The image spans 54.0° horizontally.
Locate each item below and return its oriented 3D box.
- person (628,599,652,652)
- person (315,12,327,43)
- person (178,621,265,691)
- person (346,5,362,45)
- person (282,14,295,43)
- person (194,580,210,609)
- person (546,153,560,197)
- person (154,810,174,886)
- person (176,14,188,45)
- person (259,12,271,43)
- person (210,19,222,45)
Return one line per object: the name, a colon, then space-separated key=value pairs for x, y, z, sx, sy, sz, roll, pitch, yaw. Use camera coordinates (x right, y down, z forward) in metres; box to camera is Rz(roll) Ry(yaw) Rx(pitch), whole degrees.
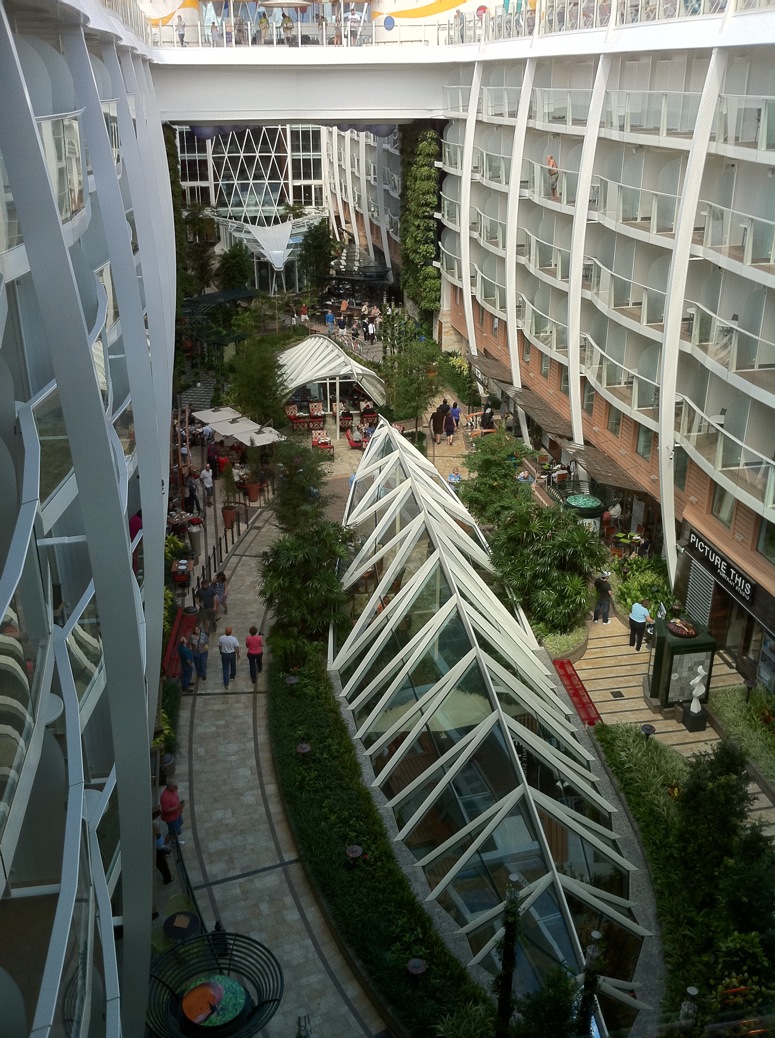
person: x=7.419 y=3.116 z=22.189 sx=0.664 sy=1.543 sz=0.479 roll=-5 pitch=27 yaw=-12
person: x=-3.502 y=-25.871 z=40.030 sx=0.587 sy=1.436 sz=0.715 roll=-2 pitch=27 yaw=-5
person: x=-4.645 y=3.812 z=20.995 sx=1.508 sy=1.371 sz=0.662 roll=2 pitch=41 yaw=0
person: x=-1.808 y=-26.073 z=40.262 sx=0.591 sy=1.714 sz=1.156 roll=1 pitch=12 yaw=4
person: x=-5.187 y=-25.455 z=39.663 sx=0.587 sy=1.195 sz=0.565 roll=13 pitch=29 yaw=22
person: x=-5.566 y=2.306 z=22.953 sx=0.399 sy=0.901 sz=0.832 roll=-9 pitch=30 yaw=-20
person: x=6.752 y=-14.069 z=31.212 sx=0.558 sy=1.502 sz=1.684 roll=5 pitch=28 yaw=8
person: x=-4.376 y=6.262 z=14.446 sx=0.400 sy=1.472 sz=0.401 roll=-5 pitch=16 yaw=-24
person: x=-10.515 y=-24.986 z=38.784 sx=0.417 sy=1.333 sz=0.577 roll=14 pitch=29 yaw=24
person: x=-6.450 y=-25.480 z=39.346 sx=0.629 sy=1.503 sz=0.641 roll=-3 pitch=27 yaw=-8
person: x=-8.910 y=-25.009 z=38.924 sx=0.830 sy=1.223 sz=0.512 roll=-6 pitch=27 yaw=-14
